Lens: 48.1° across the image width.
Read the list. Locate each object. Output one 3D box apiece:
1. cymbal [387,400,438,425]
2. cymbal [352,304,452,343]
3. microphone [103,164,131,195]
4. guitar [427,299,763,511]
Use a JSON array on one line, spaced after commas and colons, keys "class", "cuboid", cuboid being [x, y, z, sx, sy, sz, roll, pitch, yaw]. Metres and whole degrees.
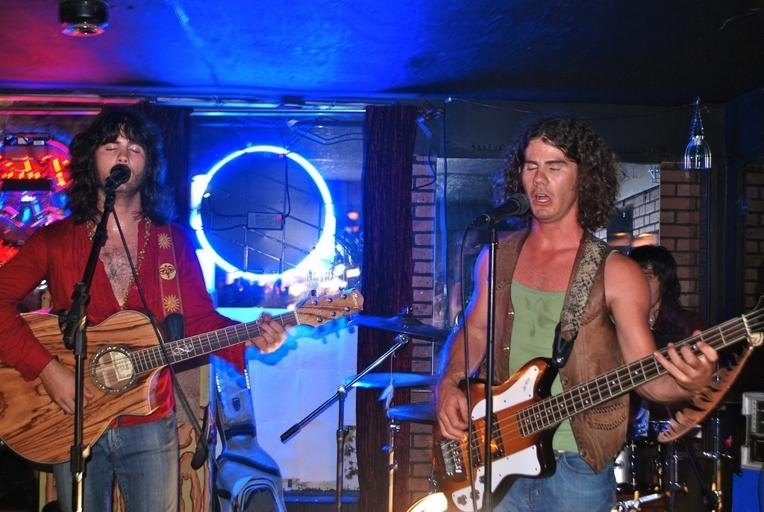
[{"class": "cymbal", "cuboid": [0.244, 1.215, 6.769, 0.257, 0.066, 0.227, -11, 0, 25]}, {"class": "cymbal", "cuboid": [0.180, 0.561, 7.163, 0.439, 0.110, 0.429, 12, -1, -34]}, {"class": "microphone", "cuboid": [-1.815, -0.538, 5.895, 0.181, 0.219, 0.182, -2, -2, -34]}, {"class": "guitar", "cuboid": [1.440, 1.032, 5.785, 1.623, 0.608, 0.237, -23, -4, 7]}]
